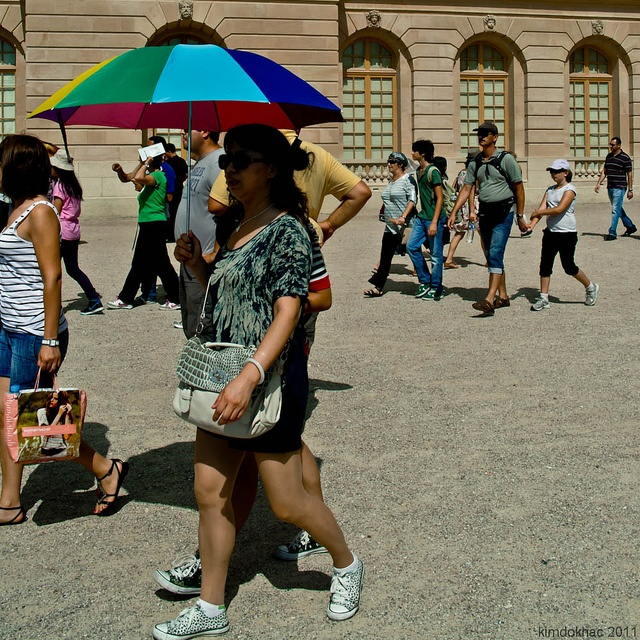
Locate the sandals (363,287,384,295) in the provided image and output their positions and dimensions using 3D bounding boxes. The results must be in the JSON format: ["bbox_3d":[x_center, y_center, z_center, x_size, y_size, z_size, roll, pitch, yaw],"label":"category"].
[{"bbox_3d":[0.715,-0.362,9.463,0.262,0.110,0.097,2,-3,-31],"label":"sandals"}]

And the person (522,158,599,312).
[{"bbox_3d":[2.888,-1.001,8.433,0.766,1.725,0.485,-1,13,-1],"label":"person"}]

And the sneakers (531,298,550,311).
[{"bbox_3d":[2.649,-0.198,8.521,0.321,0.163,0.117,-9,19,-40],"label":"sneakers"}]

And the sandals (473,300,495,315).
[{"bbox_3d":[1.866,-0.125,8.070,0.232,0.190,0.315,2,13,13],"label":"sandals"}]

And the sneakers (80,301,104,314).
[{"bbox_3d":[-2.738,-0.140,8.448,0.294,0.218,0.118,2,6,-3],"label":"sneakers"}]

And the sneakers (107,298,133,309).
[{"bbox_3d":[-2.472,-0.179,8.805,0.323,0.183,0.122,7,7,-18],"label":"sneakers"}]

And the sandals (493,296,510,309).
[{"bbox_3d":[2.218,-0.191,8.649,0.253,0.113,0.112,-1,2,-35],"label":"sandals"}]

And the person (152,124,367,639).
[{"bbox_3d":[-0.269,0.246,2.839,0.838,1.978,0.699,-6,13,-20],"label":"person"}]

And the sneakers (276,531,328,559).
[{"bbox_3d":[-0.045,1.085,3.471,0.312,0.141,0.116,6,-5,-23],"label":"sneakers"}]

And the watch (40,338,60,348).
[{"bbox_3d":[-1.323,0.115,3.485,0.061,0.041,0.060,2,-3,-10],"label":"watch"}]

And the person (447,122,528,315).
[{"bbox_3d":[2.059,-1.189,8.280,0.719,2.146,0.859,-5,13,-19],"label":"person"}]

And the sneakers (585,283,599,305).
[{"bbox_3d":[3.267,-0.297,8.573,0.138,0.318,0.101,2,9,-27],"label":"sneakers"}]

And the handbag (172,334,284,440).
[{"bbox_3d":[-0.355,0.253,2.657,0.418,0.361,0.170,11,11,14],"label":"handbag"}]

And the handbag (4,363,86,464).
[{"bbox_3d":[-1.352,0.509,3.440,0.384,0.356,0.187,-1,13,0],"label":"handbag"}]

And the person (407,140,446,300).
[{"bbox_3d":[1.410,-1.320,9.350,0.488,2.014,1.077,1,13,9],"label":"person"}]

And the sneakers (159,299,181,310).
[{"bbox_3d":[-1.835,-0.177,8.671,0.300,0.146,0.113,9,4,1],"label":"sneakers"}]

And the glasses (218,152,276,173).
[{"bbox_3d":[-0.287,-0.611,2.745,0.207,0.072,0.085,-2,13,-6],"label":"glasses"}]

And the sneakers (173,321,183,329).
[{"bbox_3d":[-1.497,0.062,7.468,0.073,0.061,0.140,2,5,-10],"label":"sneakers"}]

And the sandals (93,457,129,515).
[{"bbox_3d":[-1.129,0.918,3.866,0.136,0.340,0.099,7,-4,45],"label":"sandals"}]

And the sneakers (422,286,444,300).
[{"bbox_3d":[1.470,-0.324,9.205,0.292,0.131,0.113,1,8,-42],"label":"sneakers"}]

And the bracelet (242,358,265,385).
[{"bbox_3d":[-0.229,0.176,2.519,0.026,0.084,0.071,-37,0,-21],"label":"bracelet"}]

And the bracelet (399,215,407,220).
[{"bbox_3d":[1.089,-1.334,9.322,0.068,0.030,0.080,-2,11,20],"label":"bracelet"}]

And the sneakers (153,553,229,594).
[{"bbox_3d":[-0.585,1.077,3.051,0.110,0.200,0.279,-11,-28,37],"label":"sneakers"}]

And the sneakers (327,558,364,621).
[{"bbox_3d":[0.122,1.104,2.956,0.098,0.111,0.281,-2,36,20],"label":"sneakers"}]

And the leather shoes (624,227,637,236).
[{"bbox_3d":[6.326,-1.802,14.464,0.235,0.194,0.608,5,14,23],"label":"leather shoes"}]

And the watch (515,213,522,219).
[{"bbox_3d":[2.308,-1.181,8.187,0.092,0.090,0.043,4,7,5],"label":"watch"}]

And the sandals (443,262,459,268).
[{"bbox_3d":[2.181,-0.898,11.765,0.240,0.101,0.096,1,14,-4],"label":"sandals"}]

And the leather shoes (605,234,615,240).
[{"bbox_3d":[5.673,-1.592,13.776,0.243,0.108,0.090,3,15,28],"label":"leather shoes"}]

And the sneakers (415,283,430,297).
[{"bbox_3d":[1.339,-0.365,9.350,0.089,0.116,0.266,-26,8,-7],"label":"sneakers"}]
